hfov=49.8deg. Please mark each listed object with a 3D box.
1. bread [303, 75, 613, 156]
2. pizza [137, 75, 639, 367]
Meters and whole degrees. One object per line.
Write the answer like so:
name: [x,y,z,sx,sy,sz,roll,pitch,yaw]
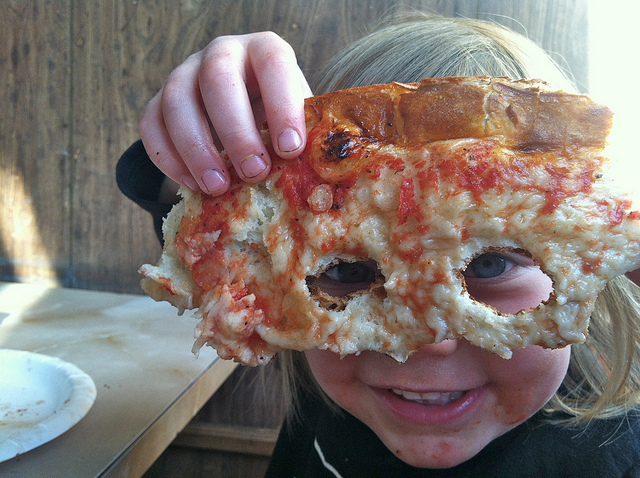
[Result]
bread: [0.372,-0.320,1.763,0.475,0.109,0.307,5,30,15]
pizza: [0.190,-0.046,1.799,1.208,0.719,0.421,6,27,4]
